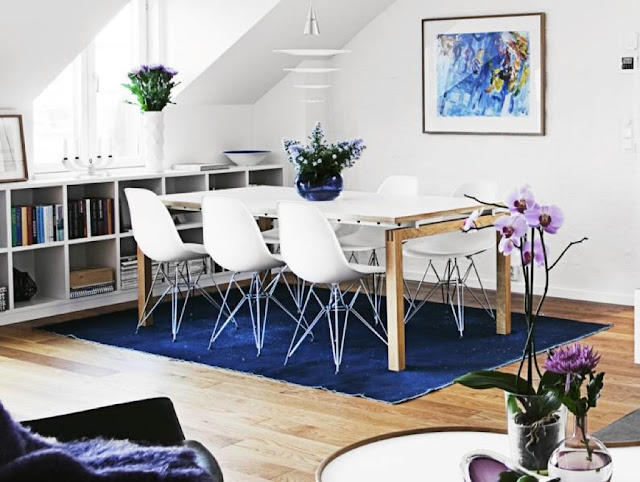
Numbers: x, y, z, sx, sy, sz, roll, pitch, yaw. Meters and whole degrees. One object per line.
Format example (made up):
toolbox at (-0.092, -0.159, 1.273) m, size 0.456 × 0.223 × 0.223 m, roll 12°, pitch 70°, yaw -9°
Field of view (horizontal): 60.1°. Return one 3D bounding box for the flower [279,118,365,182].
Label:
flower at (-0.044, -0.724, 4.849) m, size 0.699 × 0.621 × 0.657 m, roll 5°, pitch 13°, yaw 3°

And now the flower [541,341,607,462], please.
flower at (0.494, 0.301, 1.084) m, size 0.101 × 0.222 × 0.176 m, roll 3°, pitch 10°, yaw 25°

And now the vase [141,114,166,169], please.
vase at (-1.756, -1.056, 5.907) m, size 0.202 × 0.634 × 0.201 m, roll -4°, pitch 9°, yaw -17°

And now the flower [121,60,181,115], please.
flower at (-1.748, -1.598, 5.853) m, size 0.475 × 0.473 × 0.494 m, roll -4°, pitch -5°, yaw 19°

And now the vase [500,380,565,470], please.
vase at (0.472, 0.416, 1.243) m, size 0.161 × 0.177 × 0.168 m, roll -5°, pitch 1°, yaw 33°

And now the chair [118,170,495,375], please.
chair at (-0.085, 0.175, 4.757) m, size 3.013 × 1.190 × 1.560 m, roll 4°, pitch 10°, yaw 31°
